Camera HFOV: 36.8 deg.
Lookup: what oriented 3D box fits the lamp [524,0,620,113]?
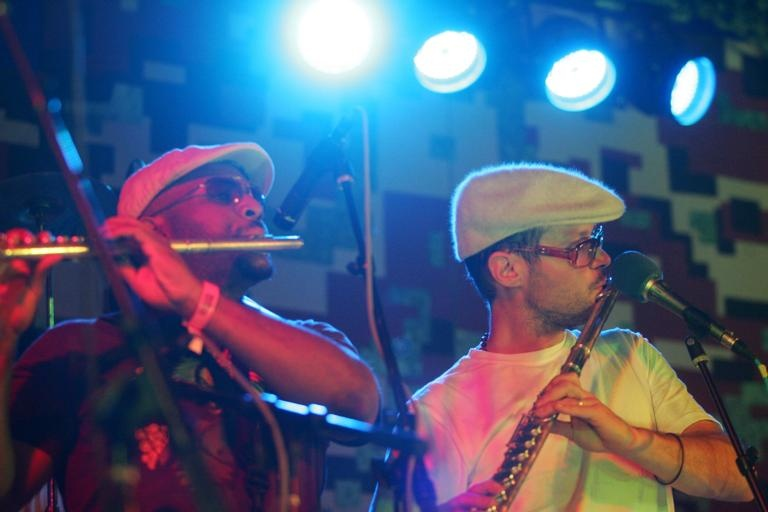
[{"bbox_3d":[1.254,-1.294,7.714,0.576,0.350,0.630,-11,-58,2],"label":"lamp"}]

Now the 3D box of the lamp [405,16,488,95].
[{"bbox_3d":[0.432,-1.284,7.526,0.480,0.280,0.353,-16,-59,5],"label":"lamp"}]

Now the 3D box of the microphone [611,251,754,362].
[{"bbox_3d":[1.953,0.351,7.636,0.296,1.218,0.299,-5,-59,-53],"label":"microphone"}]

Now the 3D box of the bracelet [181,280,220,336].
[{"bbox_3d":[-0.954,0.261,5.990,0.135,0.194,0.214,30,-62,-21],"label":"bracelet"}]

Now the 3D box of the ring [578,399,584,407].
[{"bbox_3d":[1.065,0.791,6.217,0.026,0.025,0.027,3,-102,-16],"label":"ring"}]
